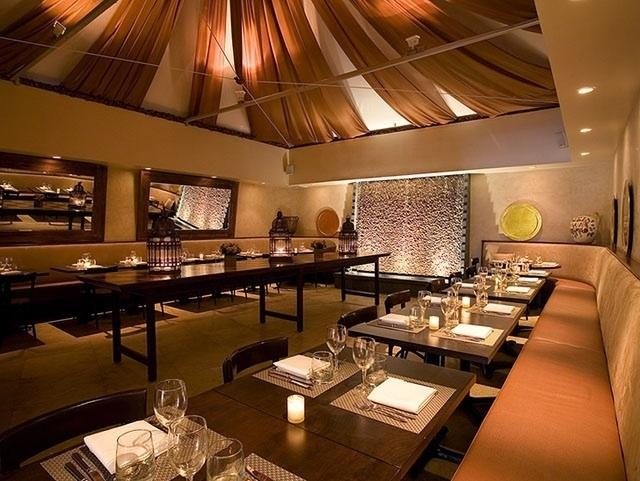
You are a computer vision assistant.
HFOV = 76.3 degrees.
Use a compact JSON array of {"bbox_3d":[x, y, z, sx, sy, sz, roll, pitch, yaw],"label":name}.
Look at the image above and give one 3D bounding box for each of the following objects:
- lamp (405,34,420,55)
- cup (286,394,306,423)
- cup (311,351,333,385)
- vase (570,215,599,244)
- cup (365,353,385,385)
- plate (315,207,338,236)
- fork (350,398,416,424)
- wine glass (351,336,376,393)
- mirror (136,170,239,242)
[{"bbox_3d":[1.264,-2.673,5.551,0.207,0.246,0.400,-4,8,15],"label":"lamp"},{"bbox_3d":[-0.119,0.845,2.056,0.111,0.126,0.114,0,-6,0],"label":"cup"},{"bbox_3d":[0.011,0.746,2.385,0.132,0.138,0.135,-4,-2,0],"label":"cup"},{"bbox_3d":[4.654,-0.205,7.219,0.454,0.449,0.376,3,-9,44],"label":"vase"},{"bbox_3d":[0.332,0.741,2.332,0.131,0.144,0.136,0,-5,0],"label":"cup"},{"bbox_3d":[0.176,-0.485,10.661,0.099,0.740,0.636,-5,-8,-44],"label":"plate"},{"bbox_3d":[0.313,0.882,2.104,0.352,0.032,0.097,4,28,32],"label":"fork"},{"bbox_3d":[0.260,0.685,2.322,0.127,0.275,0.264,-6,8,4],"label":"wine glass"},{"bbox_3d":[-2.704,-0.681,8.523,0.532,1.613,2.403,-2,10,30],"label":"mirror"}]
